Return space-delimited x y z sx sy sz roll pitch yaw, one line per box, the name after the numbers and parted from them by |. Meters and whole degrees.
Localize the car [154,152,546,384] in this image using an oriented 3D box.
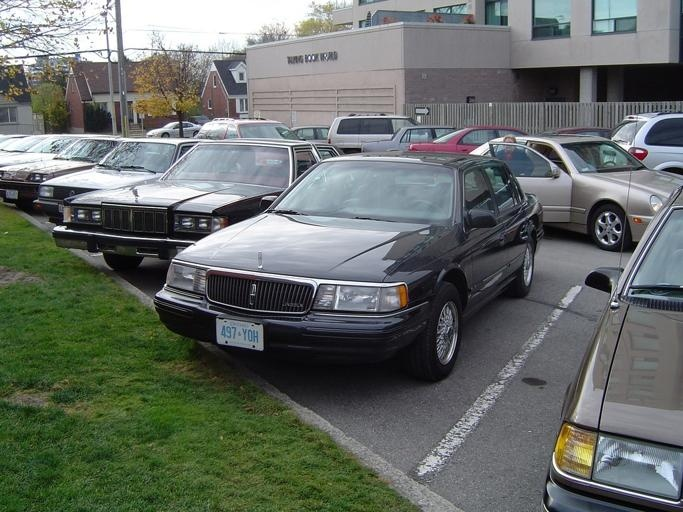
0.196 -0.031 4.809 2.153 2.080 3.430 14 16 42 | car

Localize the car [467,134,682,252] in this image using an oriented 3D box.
4.386 -1.469 10.445 5.207 1.735 2.382 7 14 38 | car
